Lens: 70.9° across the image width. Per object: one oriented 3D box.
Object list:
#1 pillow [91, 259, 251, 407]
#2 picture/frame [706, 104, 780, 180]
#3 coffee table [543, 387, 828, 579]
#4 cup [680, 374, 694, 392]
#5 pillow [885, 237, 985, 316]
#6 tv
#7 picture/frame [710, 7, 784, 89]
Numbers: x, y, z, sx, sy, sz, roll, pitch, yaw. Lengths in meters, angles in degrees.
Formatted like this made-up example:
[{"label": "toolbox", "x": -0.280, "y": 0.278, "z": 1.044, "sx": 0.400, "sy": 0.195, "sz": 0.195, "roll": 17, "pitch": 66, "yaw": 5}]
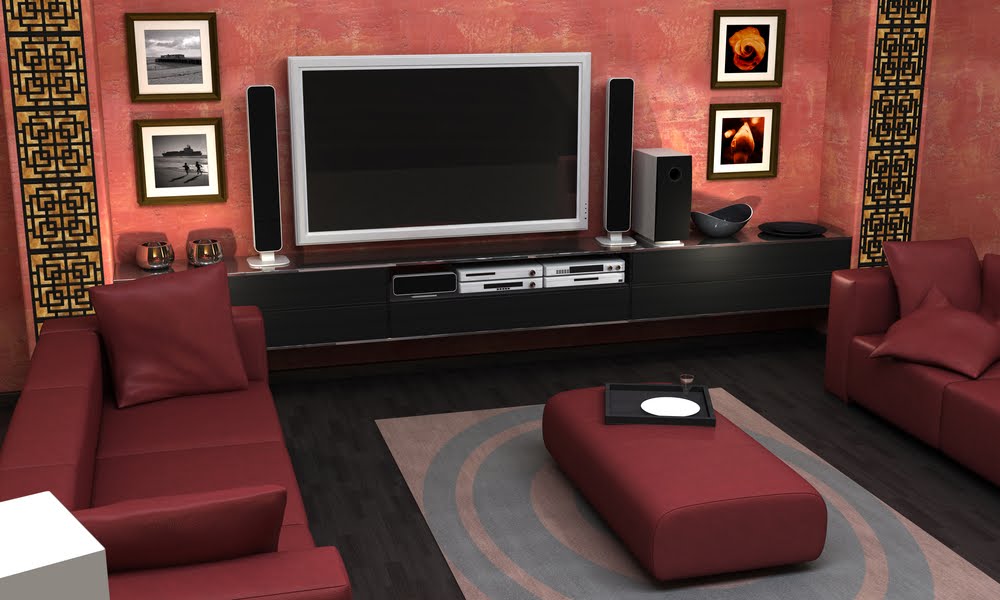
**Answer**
[{"label": "pillow", "x": -1.773, "y": 0.208, "z": 3.770, "sx": 0.749, "sy": 0.359, "sz": 0.592, "roll": -11, "pitch": 55, "yaw": -16}, {"label": "picture/frame", "x": 1.944, "y": -1.296, "z": 5.675, "sx": 0.674, "sy": 0.587, "sz": 0.047, "roll": -3, "pitch": 12, "yaw": -13}, {"label": "coffee table", "x": 0.985, "y": 0.875, "z": 3.337, "sx": 0.819, "sy": 0.317, "sz": 1.142, "roll": -2, "pitch": 12, "yaw": -18}, {"label": "cup", "x": 1.074, "y": 0.475, "z": 3.997, "sx": 0.083, "sy": 0.083, "sz": 0.088, "roll": 0, "pitch": 6, "yaw": 0}, {"label": "pillow", "x": 2.812, "y": -0.133, "z": 4.542, "sx": 0.491, "sy": 0.353, "sz": 0.224, "roll": -8, "pitch": 20, "yaw": -6}, {"label": "tv", "x": -0.516, "y": -1.147, "z": 5.110, "sx": 1.688, "sy": 0.889, "sz": 0.107, "roll": -2, "pitch": 12, "yaw": -12}, {"label": "picture/frame", "x": 1.929, "y": -2.012, "z": 5.552, "sx": 0.721, "sy": 0.630, "sz": 0.050, "roll": -2, "pitch": 12, "yaw": -12}]
